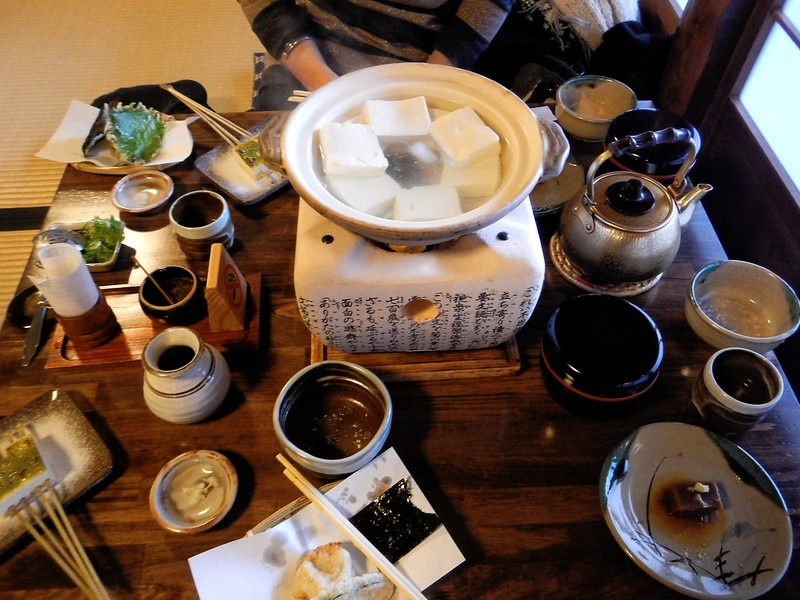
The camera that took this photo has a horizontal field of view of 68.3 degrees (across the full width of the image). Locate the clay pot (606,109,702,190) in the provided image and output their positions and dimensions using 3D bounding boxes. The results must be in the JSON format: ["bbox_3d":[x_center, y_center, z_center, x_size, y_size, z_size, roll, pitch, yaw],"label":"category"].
[{"bbox_3d":[0.855,-0.526,2.059,0.314,0.182,0.289,-3,59,6],"label":"clay pot"}]

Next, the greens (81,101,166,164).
[{"bbox_3d":[-1.044,-0.647,2.277,0.256,0.103,0.271,4,66,-12],"label":"greens"}]

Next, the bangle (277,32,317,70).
[{"bbox_3d":[-0.504,-1.176,2.790,0.124,0.119,0.032,-37,91,-22],"label":"bangle"}]

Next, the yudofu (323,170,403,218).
[{"bbox_3d":[-0.100,-0.276,1.565,0.193,0.037,0.126,-2,61,-5],"label":"yudofu"}]

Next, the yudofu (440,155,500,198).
[{"bbox_3d":[0.191,-0.333,1.597,0.162,0.032,0.132,-1,61,-5],"label":"yudofu"}]

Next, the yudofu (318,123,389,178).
[{"bbox_3d":[-0.130,-0.411,1.604,0.164,0.054,0.161,-7,62,-8],"label":"yudofu"}]

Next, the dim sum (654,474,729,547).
[{"bbox_3d":[0.747,0.551,1.564,0.172,0.055,0.157,4,84,9],"label":"dim sum"}]

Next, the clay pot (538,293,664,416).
[{"bbox_3d":[0.581,0.127,1.732,0.361,0.206,0.335,-4,47,5],"label":"clay pot"}]

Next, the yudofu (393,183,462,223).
[{"bbox_3d":[0.067,-0.249,1.553,0.173,0.036,0.122,-2,61,-6],"label":"yudofu"}]

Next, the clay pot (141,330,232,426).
[{"bbox_3d":[-0.668,0.216,1.766,0.303,0.289,0.267,-1,99,-25],"label":"clay pot"}]
